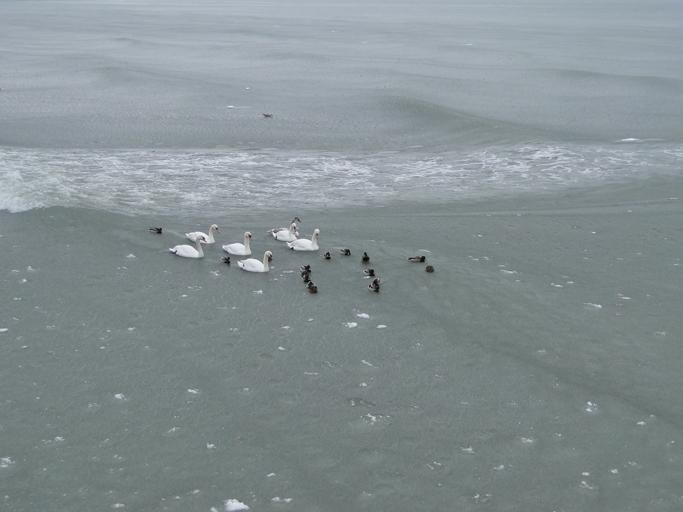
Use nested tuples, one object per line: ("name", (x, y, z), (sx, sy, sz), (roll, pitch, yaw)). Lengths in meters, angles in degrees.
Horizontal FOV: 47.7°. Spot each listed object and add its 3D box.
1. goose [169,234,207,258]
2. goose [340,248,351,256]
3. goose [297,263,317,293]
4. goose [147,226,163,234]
("goose", (-7.879, -0.334, 39.507), (1.618, 0.840, 1.178), (-10, 31, -23))
("goose", (0.188, -0.186, 40.121), (0.525, 0.181, 0.654), (2, 7, -1))
("goose", (-1.636, 1.167, 37.331), (0.742, 0.604, 1.577), (6, 36, -15))
("goose", (-10.126, -1.367, 41.945), (0.435, 0.304, 0.593), (2, 12, -3))
